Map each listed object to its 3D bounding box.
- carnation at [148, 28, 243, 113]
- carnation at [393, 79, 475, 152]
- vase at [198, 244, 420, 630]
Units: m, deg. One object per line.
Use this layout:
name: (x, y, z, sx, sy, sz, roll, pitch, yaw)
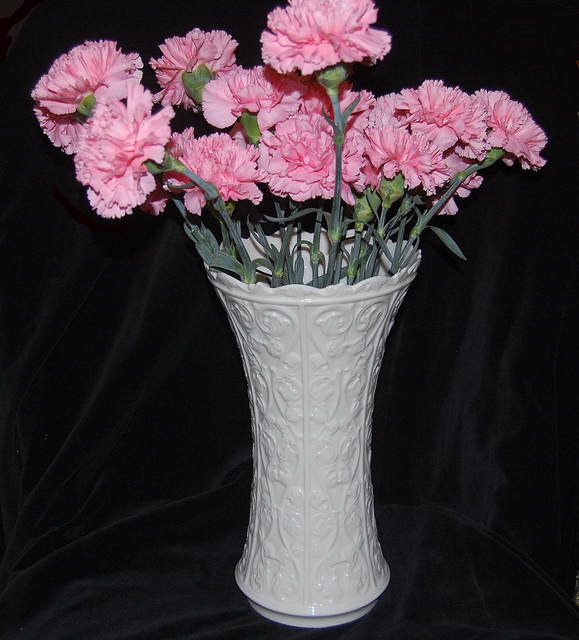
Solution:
carnation: (-0.107, -0.306, 0.883, 0.100, 0.141, 0.085, -8, 25, -17)
carnation: (0.160, -0.225, 0.810, 0.051, 0.090, 0.075, -1, 17, -1)
vase: (0.024, 0.160, 0.980, 0.267, 0.463, 0.389, 0, -21, -6)
